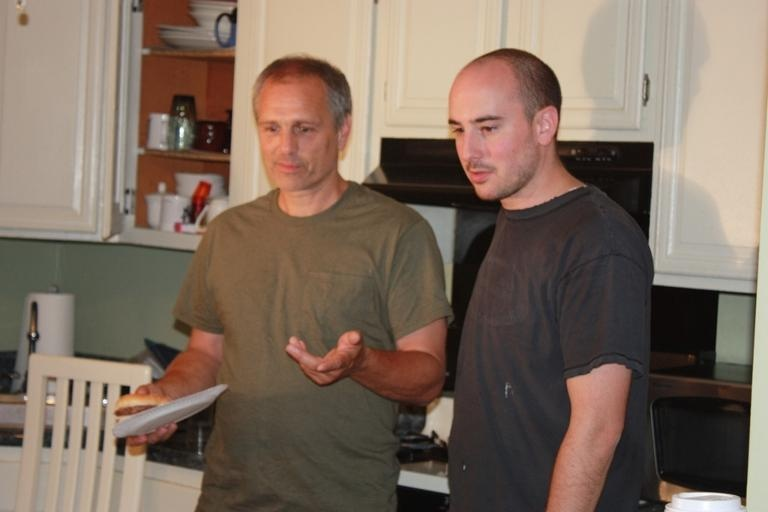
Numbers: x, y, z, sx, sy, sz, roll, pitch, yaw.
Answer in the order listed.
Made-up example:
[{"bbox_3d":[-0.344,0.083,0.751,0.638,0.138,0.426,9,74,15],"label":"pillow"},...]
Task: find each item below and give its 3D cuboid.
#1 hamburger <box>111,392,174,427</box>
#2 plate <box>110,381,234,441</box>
[{"bbox_3d":[-0.668,0.407,2.132,0.145,0.054,0.150,-7,-9,-5],"label":"hamburger"},{"bbox_3d":[-0.567,0.420,2.046,0.287,0.158,0.215,0,1,-13],"label":"plate"}]
